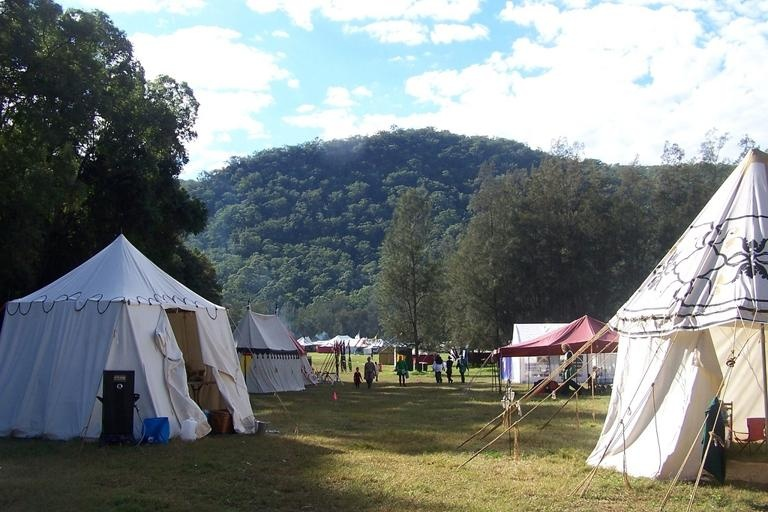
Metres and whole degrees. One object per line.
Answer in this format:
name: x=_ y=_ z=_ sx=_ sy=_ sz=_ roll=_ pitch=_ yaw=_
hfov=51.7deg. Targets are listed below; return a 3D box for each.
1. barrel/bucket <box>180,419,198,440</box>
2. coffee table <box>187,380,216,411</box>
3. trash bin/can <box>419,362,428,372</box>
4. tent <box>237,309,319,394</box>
barrel/bucket: x=-5.089 y=4.631 z=21.136 sx=0.463 sy=0.769 sz=0.421 roll=2 pitch=-14 yaw=-13
coffee table: x=-5.357 y=4.120 z=23.400 sx=0.703 sy=1.144 sz=0.939 roll=1 pitch=-4 yaw=7
trash bin/can: x=2.649 y=7.498 z=53.648 sx=0.549 sy=0.638 sz=0.577 roll=1 pitch=-9 yaw=-12
tent: x=-5.439 y=4.333 z=34.079 sx=2.672 sy=3.431 sz=4.803 roll=-6 pitch=-8 yaw=20
